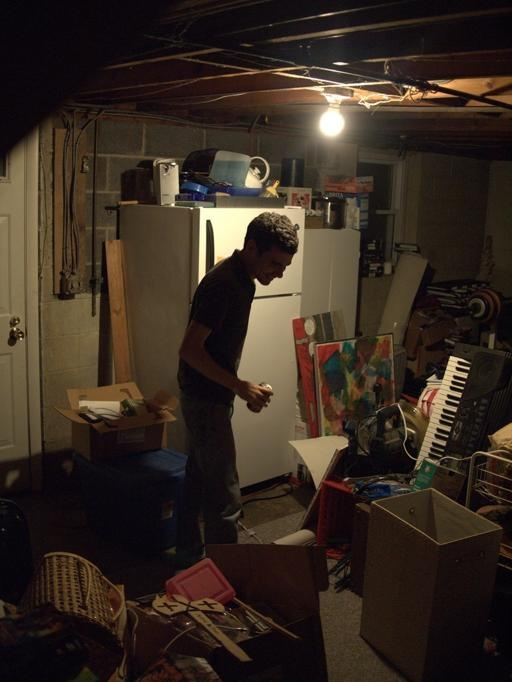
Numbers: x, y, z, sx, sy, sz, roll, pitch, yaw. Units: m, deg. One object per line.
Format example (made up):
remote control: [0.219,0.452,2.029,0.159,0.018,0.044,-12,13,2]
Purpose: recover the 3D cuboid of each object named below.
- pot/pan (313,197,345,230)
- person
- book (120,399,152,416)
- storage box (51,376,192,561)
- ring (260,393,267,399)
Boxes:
pot/pan: [0.656,-1.093,4.814,0.295,0.332,0.297,6,10,42]
person: [-0.130,0.324,2.576,0.515,1.791,0.776,-2,9,-24]
book: [-0.692,0.360,3.143,0.108,0.029,0.107,9,8,-31]
storage box: [-0.653,0.667,3.343,0.848,0.883,0.777,11,11,42]
ring: [0.034,0.234,2.377,0.023,0.018,0.014,-4,10,-32]
